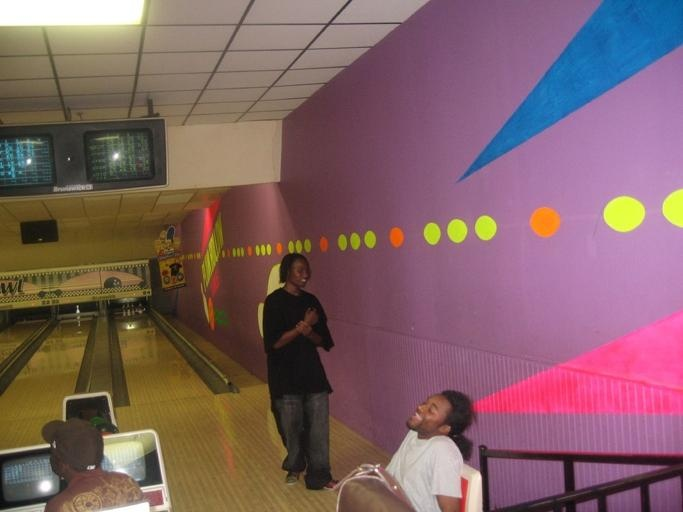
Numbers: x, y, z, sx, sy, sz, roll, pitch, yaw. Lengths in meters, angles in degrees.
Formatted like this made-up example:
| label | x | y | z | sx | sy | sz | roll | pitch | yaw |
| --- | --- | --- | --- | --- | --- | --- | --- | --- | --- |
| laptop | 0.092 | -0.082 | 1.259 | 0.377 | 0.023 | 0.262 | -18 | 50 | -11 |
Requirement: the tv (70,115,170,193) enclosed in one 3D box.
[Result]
| label | x | y | z | sx | sy | sz | roll | pitch | yaw |
| --- | --- | --- | --- | --- | --- | --- | --- | --- | --- |
| tv | -1.728 | -0.807 | 3.783 | 0.853 | 0.829 | 0.458 | -3 | 6 | -20 |

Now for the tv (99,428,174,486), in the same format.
| label | x | y | z | sx | sy | sz | roll | pitch | yaw |
| --- | --- | --- | --- | --- | --- | --- | --- | --- | --- |
| tv | -1.019 | 0.999 | 2.294 | 0.267 | 0.311 | 0.065 | -3 | 2 | -15 |

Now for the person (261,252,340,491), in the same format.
| label | x | y | z | sx | sy | sz | roll | pitch | yaw |
| --- | --- | --- | --- | --- | --- | --- | --- | --- | --- |
| person | -0.314 | 0.884 | 3.451 | 0.433 | 1.801 | 0.499 | 3 | 2 | 44 |
